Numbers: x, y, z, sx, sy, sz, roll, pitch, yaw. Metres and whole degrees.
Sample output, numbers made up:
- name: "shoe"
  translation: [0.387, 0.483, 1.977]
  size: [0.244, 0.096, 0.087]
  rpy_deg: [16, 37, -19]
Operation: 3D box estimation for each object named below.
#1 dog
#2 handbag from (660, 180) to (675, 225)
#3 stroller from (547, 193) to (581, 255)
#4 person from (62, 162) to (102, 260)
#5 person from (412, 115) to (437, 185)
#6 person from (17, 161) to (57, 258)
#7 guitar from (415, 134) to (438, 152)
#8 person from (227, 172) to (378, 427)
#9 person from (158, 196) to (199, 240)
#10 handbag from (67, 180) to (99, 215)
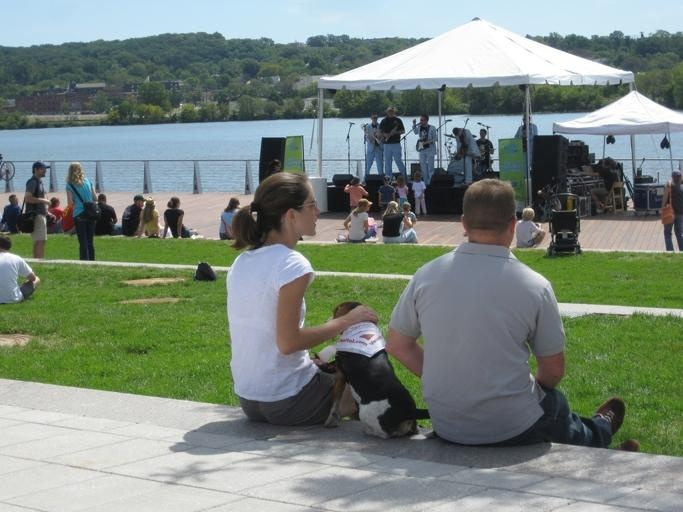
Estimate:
- name: "dog"
  translation: [0.269, 0.828, 7.715]
  size: [0.702, 1.019, 1.272]
  rpy_deg: [9, 13, 25]
- name: "handbag"
  translation: [5.745, -0.923, 17.727]
  size: [0.217, 0.750, 0.495]
  rpy_deg: [1, 8, 18]
- name: "stroller"
  translation: [3.635, -0.505, 16.439]
  size: [0.520, 1.010, 0.753]
  rpy_deg: [-1, 2, 12]
- name: "person"
  translation: [-4.099, -0.744, 15.959]
  size: [0.513, 1.616, 0.712]
  rpy_deg: [0, 1, -9]
- name: "person"
  translation: [2.110, -2.717, 25.606]
  size: [0.605, 1.741, 0.519]
  rpy_deg: [-2, 5, 13]
- name: "person"
  translation: [-5.016, -0.731, 16.512]
  size: [0.531, 1.744, 0.511]
  rpy_deg: [0, 1, 0]
- name: "guitar"
  translation: [2.101, -2.833, 25.418]
  size: [0.416, 0.233, 0.293]
  rpy_deg: [-15, 11, -42]
- name: "person"
  translation: [-0.536, 0.364, 7.735]
  size: [1.010, 2.008, 1.192]
  rpy_deg: [3, 17, -25]
- name: "person"
  translation: [-3.295, -0.775, 20.118]
  size: [0.540, 0.897, 0.854]
  rpy_deg: [6, 15, 19]
- name: "handbag"
  translation: [-4.094, -0.900, 15.836]
  size: [0.416, 0.567, 0.532]
  rpy_deg: [-3, 8, -16]
